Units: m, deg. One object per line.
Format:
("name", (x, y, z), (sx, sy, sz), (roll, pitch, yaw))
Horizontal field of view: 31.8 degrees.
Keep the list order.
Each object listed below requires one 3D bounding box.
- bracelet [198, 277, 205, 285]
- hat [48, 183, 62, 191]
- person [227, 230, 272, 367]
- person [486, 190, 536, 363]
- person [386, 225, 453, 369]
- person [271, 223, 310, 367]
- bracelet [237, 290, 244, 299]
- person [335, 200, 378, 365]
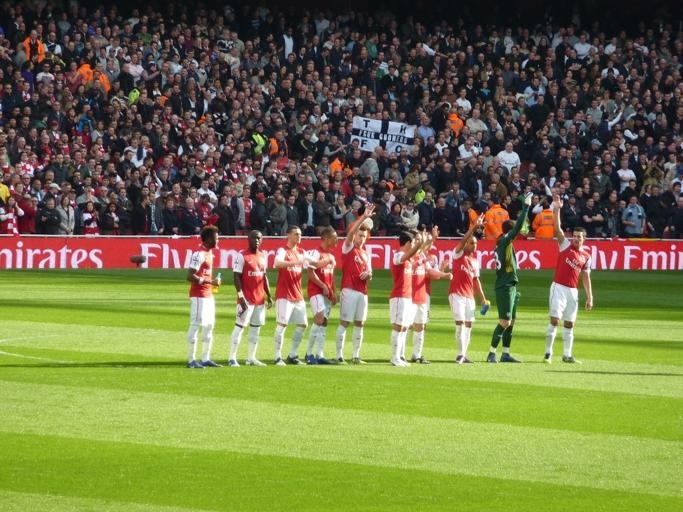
("bracelet", (-2.721, 0.464, 23.132), (0.122, 0.158, 0.050), (-2, 14, -15))
("hat", (-8.271, -1.999, 34.460), (0.239, 0.297, 0.568), (4, 14, 11))
("person", (-1.796, 0.848, 23.710), (0.611, 2.599, 1.053), (9, 15, 31))
("person", (3.515, 0.503, 25.039), (0.707, 3.612, 1.423), (3, 13, 9))
("person", (1.415, 0.908, 24.435), (0.781, 2.778, 1.473), (7, 14, 21))
("person", (-1.022, 0.803, 24.318), (0.684, 2.918, 1.546), (1, 13, -3))
("bracelet", (-1.995, 0.744, 23.423), (0.124, 0.131, 0.118), (-2, 3, -18))
("person", (0.258, 0.576, 24.228), (0.648, 3.281, 0.824), (2, 13, 3))
